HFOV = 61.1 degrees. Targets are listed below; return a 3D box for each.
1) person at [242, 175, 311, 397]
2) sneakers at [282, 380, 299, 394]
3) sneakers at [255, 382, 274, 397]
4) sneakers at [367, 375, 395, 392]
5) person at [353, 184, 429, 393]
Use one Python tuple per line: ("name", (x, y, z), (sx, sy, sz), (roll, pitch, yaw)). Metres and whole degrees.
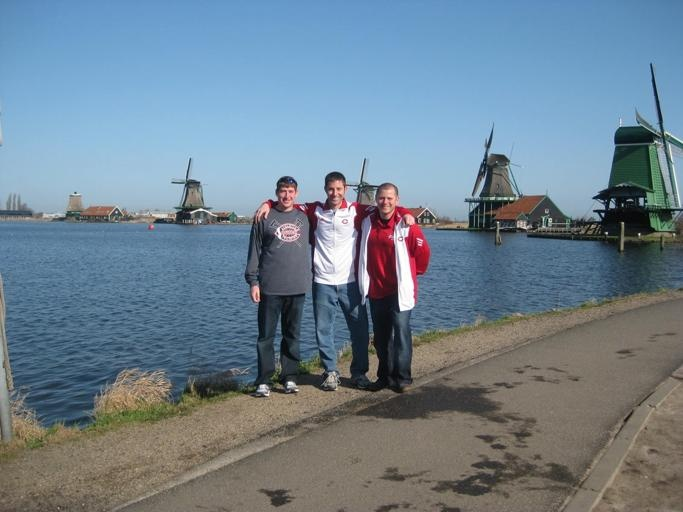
("person", (-0.841, 0.389, 7.861), (0.664, 2.893, 0.967), (6, 10, 43))
("sneakers", (-0.678, 1.765, 7.850), (0.208, 0.158, 0.170), (-2, 7, -6))
("sneakers", (-1.044, 1.772, 7.731), (0.201, 0.173, 0.258), (-1, 7, -1))
("sneakers", (0.543, 1.747, 7.863), (0.417, 0.173, 0.137), (4, -8, -20))
("person", (0.688, 0.391, 7.943), (0.974, 2.760, 0.749), (0, 7, 12))
